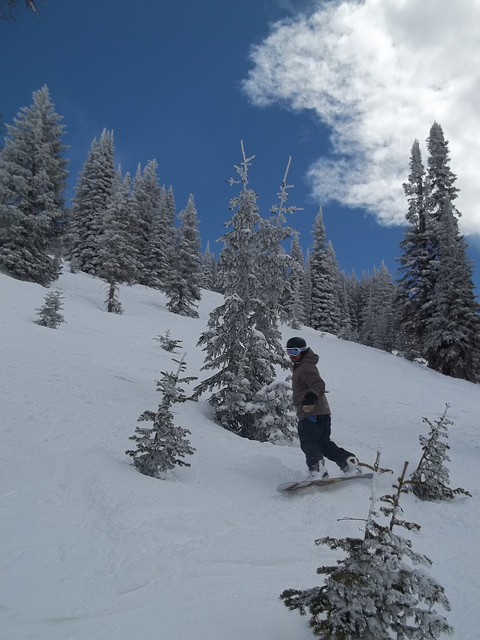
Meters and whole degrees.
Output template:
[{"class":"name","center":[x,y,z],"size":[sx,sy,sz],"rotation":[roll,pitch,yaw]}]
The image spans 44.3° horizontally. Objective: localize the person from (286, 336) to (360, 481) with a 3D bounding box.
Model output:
[{"class":"person","center":[1.686,1.702,11.432],"size":[1.359,1.098,2.270],"rotation":[-1,42,2]}]

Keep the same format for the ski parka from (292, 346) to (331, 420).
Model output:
[{"class":"ski parka","center":[0.973,0.917,8.347],"size":[0.554,0.942,1.278],"rotation":[-9,-1,-7]}]

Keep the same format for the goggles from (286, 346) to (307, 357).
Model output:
[{"class":"goggles","center":[0.780,0.435,8.303],"size":[0.163,0.079,0.193],"rotation":[-9,-4,41]}]
